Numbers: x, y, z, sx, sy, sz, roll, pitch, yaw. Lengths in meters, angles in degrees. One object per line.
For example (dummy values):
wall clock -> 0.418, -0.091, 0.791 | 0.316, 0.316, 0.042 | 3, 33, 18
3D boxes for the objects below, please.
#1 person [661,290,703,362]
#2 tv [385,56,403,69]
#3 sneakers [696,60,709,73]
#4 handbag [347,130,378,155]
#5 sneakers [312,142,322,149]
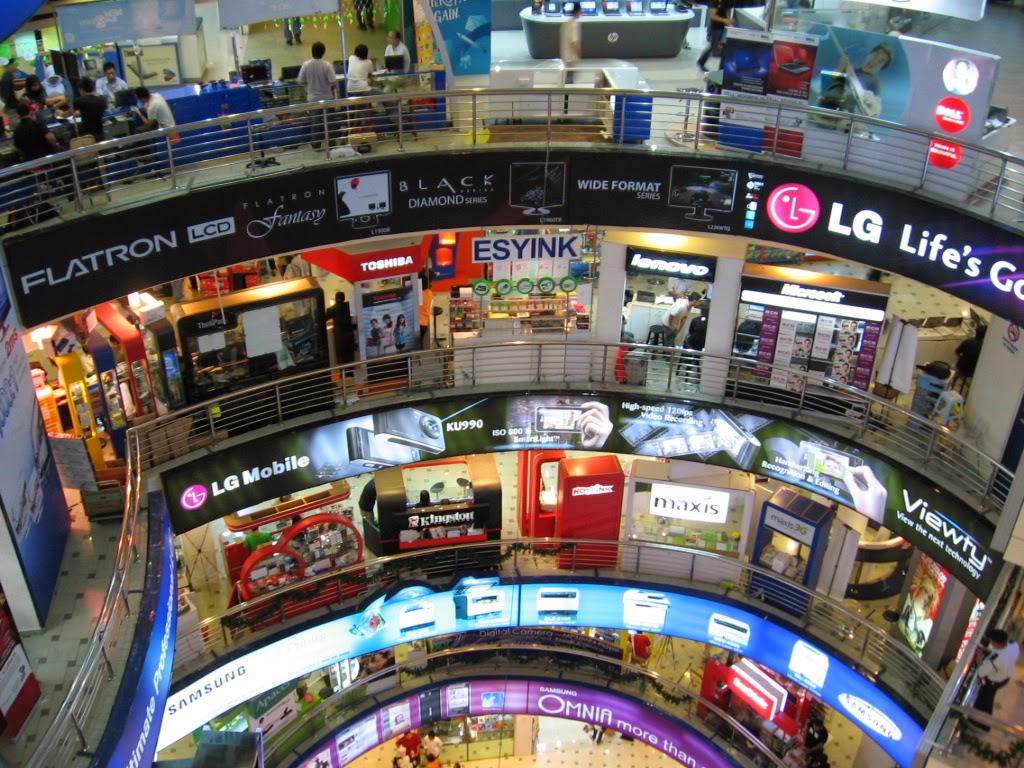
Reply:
person -> 3.241, -1.107, 15.091 | 0.334, 1.283, 1.291 | 28, -81, 6
tv -> -2.239, -6.075, 15.027 | 0.268, 0.171, 0.257 | 1, -83, -8
sneakers -> 4.128, -6.845, 17.115 | 0.185, 0.325, 0.257 | 1, -79, 0
handbag -> -2.491, -3.959, 13.124 | 0.616, 0.355, 0.425 | -1, -39, -6
sneakers -> -3.281, -3.973, 13.255 | 0.177, 0.118, 0.107 | 2, -94, -1
